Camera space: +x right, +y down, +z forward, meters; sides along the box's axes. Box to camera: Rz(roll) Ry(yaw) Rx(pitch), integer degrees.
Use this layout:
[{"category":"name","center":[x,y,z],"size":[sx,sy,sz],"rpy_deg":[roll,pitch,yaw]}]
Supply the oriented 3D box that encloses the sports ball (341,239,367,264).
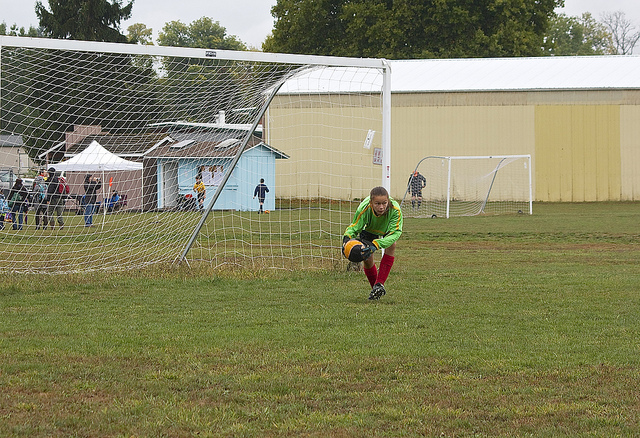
[{"category":"sports ball","center":[0.785,0.680,22.041],"size":[0.491,0.382,0.395],"rpy_deg":[10,-22,41]}]

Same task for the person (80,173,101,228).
[{"category":"person","center":[-7.647,-0.605,34.421],"size":[0.672,1.762,0.719],"rpy_deg":[-1,-5,0]}]

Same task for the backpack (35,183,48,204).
[{"category":"backpack","center":[-8.360,-0.766,30.754],"size":[0.159,0.487,0.477],"rpy_deg":[23,33,-5]}]

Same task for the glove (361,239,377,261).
[{"category":"glove","center":[1.055,0.683,22.159],"size":[0.334,0.479,0.409],"rpy_deg":[1,2,2]}]
